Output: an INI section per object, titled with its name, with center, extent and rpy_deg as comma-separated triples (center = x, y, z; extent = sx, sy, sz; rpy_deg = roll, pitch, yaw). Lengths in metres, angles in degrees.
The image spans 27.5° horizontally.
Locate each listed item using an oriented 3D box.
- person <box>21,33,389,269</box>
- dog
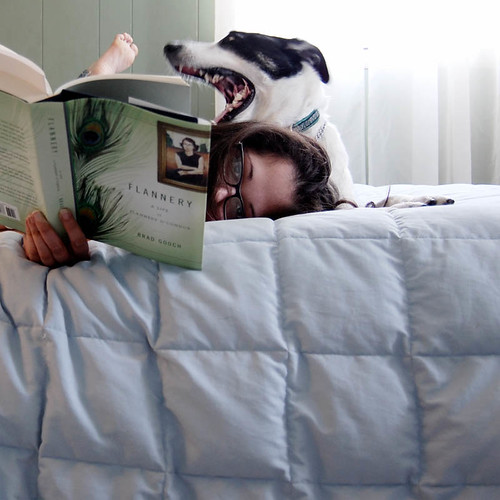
[person]
center = -0.127, -0.194, 2.061
extent = 0.842, 0.406, 0.330
rpy_deg = -2, -5, -40
[dog]
center = 0.167, -0.287, 2.310
extent = 0.737, 0.374, 0.262
rpy_deg = 8, 10, 13
